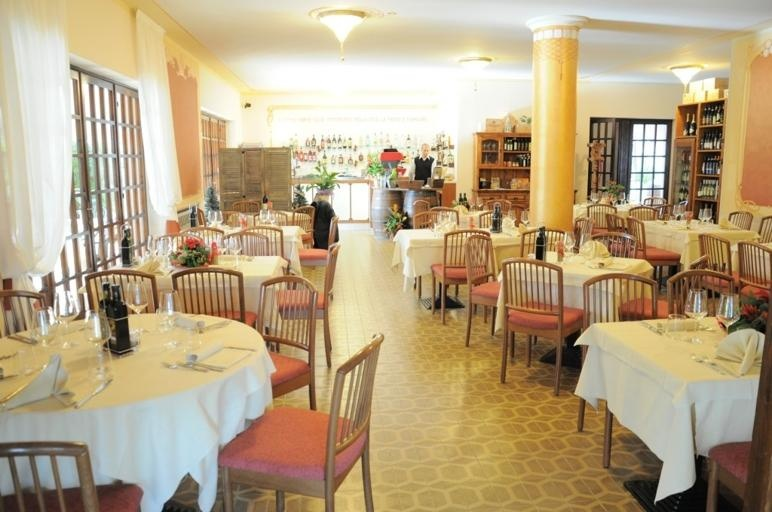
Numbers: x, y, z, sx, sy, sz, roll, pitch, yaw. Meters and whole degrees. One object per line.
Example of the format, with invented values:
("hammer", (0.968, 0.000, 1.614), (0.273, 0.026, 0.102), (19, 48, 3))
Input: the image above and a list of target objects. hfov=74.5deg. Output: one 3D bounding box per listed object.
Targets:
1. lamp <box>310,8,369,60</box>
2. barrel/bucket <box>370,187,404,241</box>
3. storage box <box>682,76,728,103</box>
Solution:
("lamp", (-0.614, -3.191, 7.332), (0.541, 0.551, 0.492), (-9, 16, -30))
("barrel/bucket", (-0.053, -1.090, 12.738), (1.045, 1.466, 1.125), (1, 6, 0))
("storage box", (6.615, -3.415, 10.532), (0.753, 0.502, 0.867), (5, 10, 34))
